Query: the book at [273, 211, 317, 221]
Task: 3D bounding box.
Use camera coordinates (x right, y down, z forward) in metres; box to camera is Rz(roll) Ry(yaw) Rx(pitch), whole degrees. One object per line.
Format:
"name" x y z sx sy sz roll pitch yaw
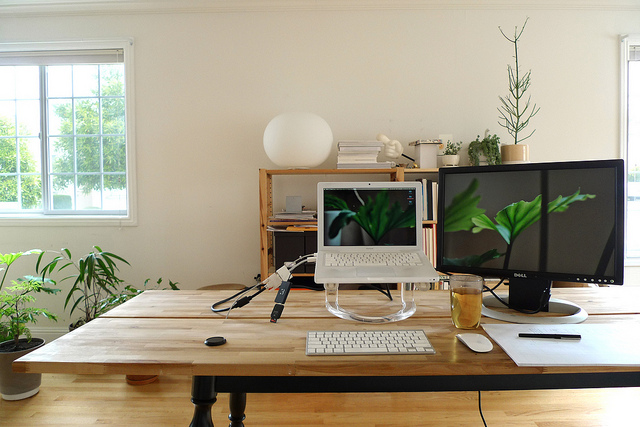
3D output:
"book" -0.205 0.017 4.086 0.344 0.068 0.141 -2 7 -2

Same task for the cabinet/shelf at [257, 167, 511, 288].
"cabinet/shelf" 0.409 0.103 3.096 1.084 0.888 0.315 -1 6 3

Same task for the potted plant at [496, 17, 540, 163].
"potted plant" 1.684 -1.067 4.221 0.348 1.252 0.509 2 8 24

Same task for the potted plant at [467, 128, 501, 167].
"potted plant" 1.379 -0.567 4.235 0.304 0.298 0.325 0 0 1

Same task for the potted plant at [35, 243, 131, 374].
"potted plant" -1.898 0.747 4.443 0.847 0.923 0.987 4 5 23

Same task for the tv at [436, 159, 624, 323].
"tv" 1.129 0.141 2.666 0.966 0.767 0.361 0 -3 12

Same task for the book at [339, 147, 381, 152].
"book" 0.327 -0.526 4.049 0.318 0.049 0.064 -3 7 -10

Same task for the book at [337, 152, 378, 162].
"book" 0.313 -0.461 4.065 0.313 0.088 0.046 -1 8 4
